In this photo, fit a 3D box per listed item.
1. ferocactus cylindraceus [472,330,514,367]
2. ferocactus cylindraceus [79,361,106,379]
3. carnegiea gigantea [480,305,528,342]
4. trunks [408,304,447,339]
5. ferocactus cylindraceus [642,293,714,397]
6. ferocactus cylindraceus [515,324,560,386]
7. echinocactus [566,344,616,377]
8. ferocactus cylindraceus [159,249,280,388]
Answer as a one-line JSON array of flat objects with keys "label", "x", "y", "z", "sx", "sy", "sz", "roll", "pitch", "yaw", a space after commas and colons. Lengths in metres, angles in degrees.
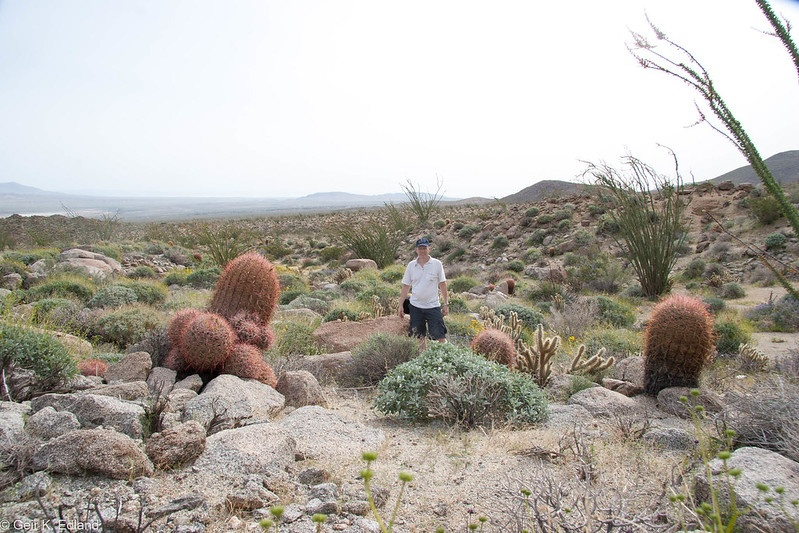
[{"label": "ferocactus cylindraceus", "x": 1.378, "y": 1.179, "z": 7.623, "sx": 0.531, "sy": 0.560, "sz": 0.492, "roll": 3, "pitch": 6, "yaw": 36}, {"label": "ferocactus cylindraceus", "x": -3.991, "y": 1.327, "z": 6.734, "sx": 0.271, "sy": 0.101, "sz": 0.290, "roll": 14, "pitch": 13, "yaw": 0}, {"label": "carnegiea gigantea", "x": 2.072, "y": 1.080, "z": 9.712, "sx": 0.654, "sy": 0.773, "sz": 0.628, "roll": -5, "pitch": 2, "yaw": -32}, {"label": "trunks", "x": 0.474, "y": 1.020, "z": 8.982, "sx": 0.763, "sy": 0.800, "sz": 0.338, "roll": -4, "pitch": -40, "yaw": -3}, {"label": "ferocactus cylindraceus", "x": 3.901, "y": 1.119, "z": 7.384, "sx": 0.881, "sy": 1.371, "sz": 0.906, "roll": 10, "pitch": 10, "yaw": 29}, {"label": "ferocactus cylindraceus", "x": 2.038, "y": 1.325, "z": 7.662, "sx": 0.564, "sy": 0.899, "sz": 0.554, "roll": -1, "pitch": 1, "yaw": 13}, {"label": "echinocactus", "x": 2.891, "y": 1.424, "z": 7.839, "sx": 0.624, "sy": 0.487, "sz": 0.568, "roll": -1, "pitch": 1, "yaw": 18}, {"label": "ferocactus cylindraceus", "x": -2.420, "y": 0.653, "z": 7.388, "sx": 1.357, "sy": 2.247, "sz": 1.064, "roll": 3, "pitch": -30, "yaw": -8}]
